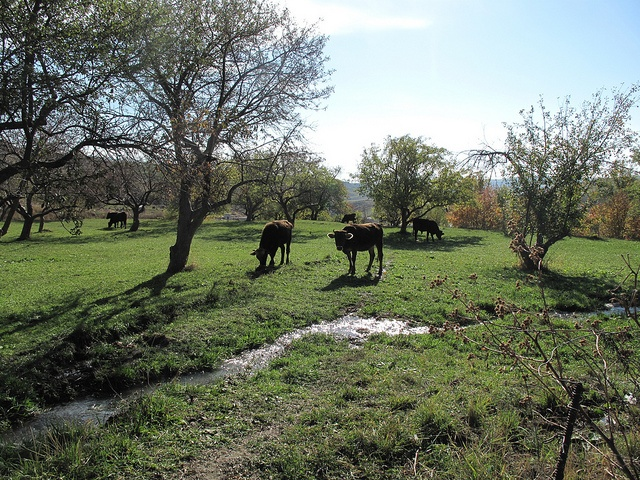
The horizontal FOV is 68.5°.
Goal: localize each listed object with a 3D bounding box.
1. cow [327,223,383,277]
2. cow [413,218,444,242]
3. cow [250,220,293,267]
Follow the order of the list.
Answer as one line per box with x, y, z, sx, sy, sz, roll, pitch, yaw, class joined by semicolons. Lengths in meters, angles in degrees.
2.152;0.388;24.432;1.406;2.595;3.366;4;3;36;cow
9.506;-0.914;41.042;2.161;1.989;4.864;2;2;9;cow
-2.402;0.171;25.176;1.324;2.399;3.224;2;2;13;cow
